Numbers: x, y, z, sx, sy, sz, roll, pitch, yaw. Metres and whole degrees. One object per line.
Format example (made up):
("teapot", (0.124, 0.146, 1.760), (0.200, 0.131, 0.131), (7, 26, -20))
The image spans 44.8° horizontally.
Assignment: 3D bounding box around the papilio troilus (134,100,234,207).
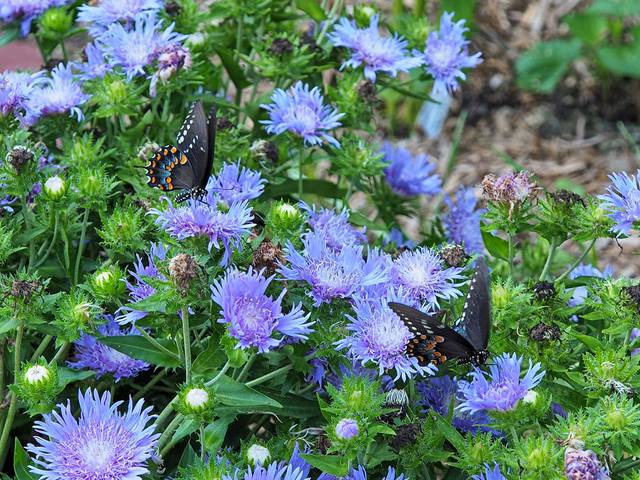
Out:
("papilio troilus", (-0.437, -0.285, 2.444), (0.223, 0.374, 0.200), (18, 26, 25))
